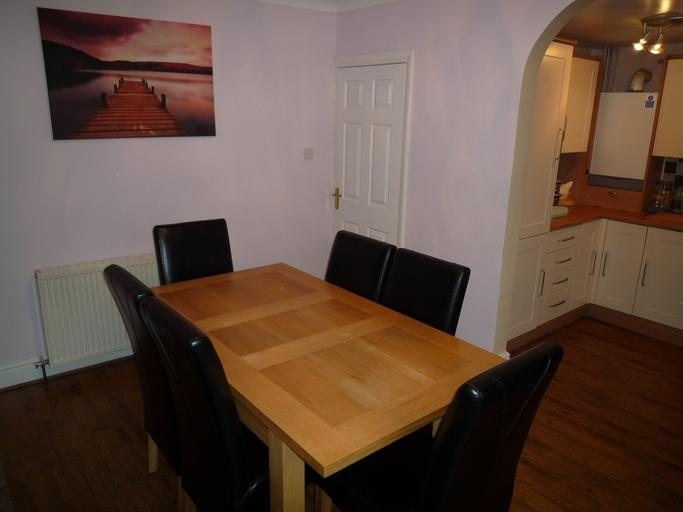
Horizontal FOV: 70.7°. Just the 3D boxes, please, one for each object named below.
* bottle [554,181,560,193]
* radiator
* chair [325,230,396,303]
[{"bbox_3d":[2.149,-0.675,4.766,0.038,0.157,0.148,4,6,22],"label":"bottle"},{"bbox_3d":[-1.711,0.360,3.246,0.703,0.579,0.092,-14,24,-36],"label":"radiator"},{"bbox_3d":[0.130,0.084,3.180,0.301,0.577,0.307,26,20,36],"label":"chair"}]
